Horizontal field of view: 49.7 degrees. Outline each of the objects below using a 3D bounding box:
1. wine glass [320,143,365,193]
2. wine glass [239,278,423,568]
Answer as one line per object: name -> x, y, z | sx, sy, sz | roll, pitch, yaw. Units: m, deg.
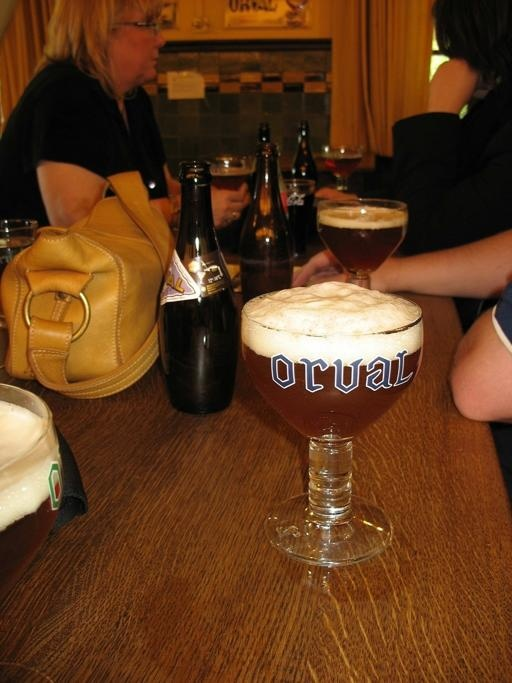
wine glass -> 0.343, -0.681, 2.184 | 0.164, 0.180, 0.161 | -1, 19, 2
wine glass -> 0.056, 0.063, 0.436 | 0.128, 0.183, 0.118 | -9, 13, -26
